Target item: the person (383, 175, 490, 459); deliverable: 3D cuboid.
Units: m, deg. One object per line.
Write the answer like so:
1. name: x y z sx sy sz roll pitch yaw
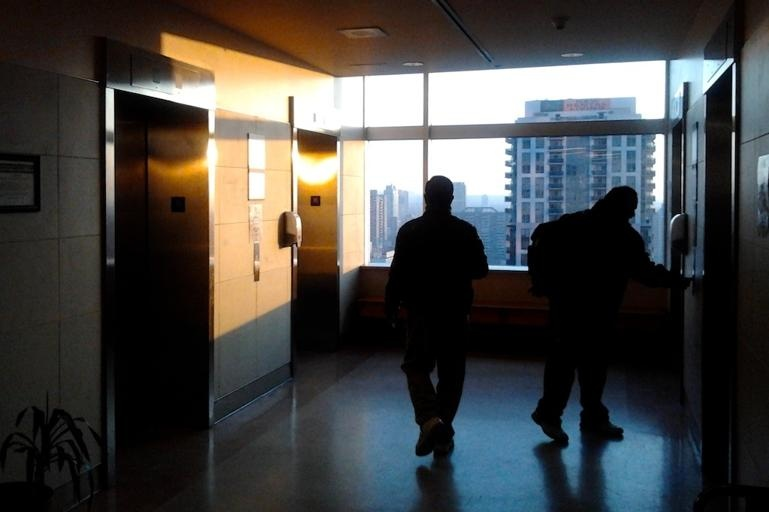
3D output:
1. person: 0.455 0.480 5.176 0.761 2.249 0.706 -5 9 -29

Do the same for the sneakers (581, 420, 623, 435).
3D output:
1. sneakers: 1.895 1.501 5.499 0.372 0.161 0.129 0 4 15

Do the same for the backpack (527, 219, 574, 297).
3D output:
1. backpack: 1.475 0.028 5.712 0.477 0.604 0.642 2 9 12

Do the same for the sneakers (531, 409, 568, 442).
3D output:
1. sneakers: 1.442 1.486 5.485 0.388 0.165 0.132 42 2 29
